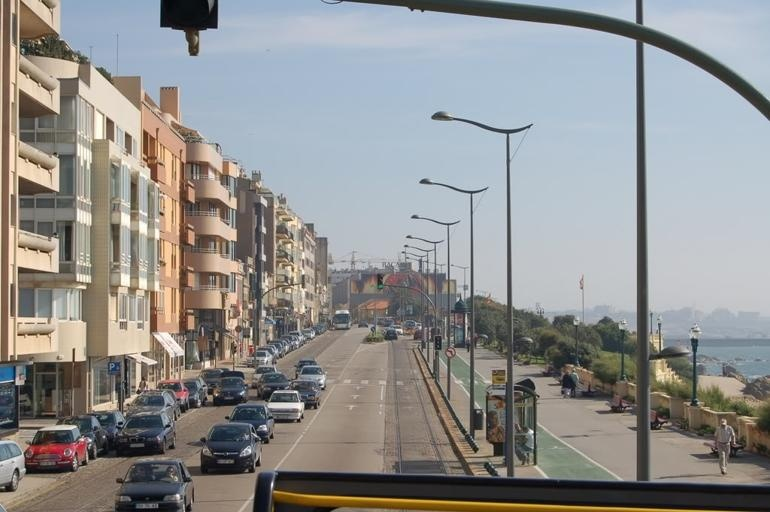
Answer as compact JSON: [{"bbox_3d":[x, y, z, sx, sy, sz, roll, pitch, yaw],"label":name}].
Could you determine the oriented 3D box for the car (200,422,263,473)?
[{"bbox_3d":[-6.969,8.693,48.126,2.362,2.150,4.793,0,-6,-1],"label":"car"}]

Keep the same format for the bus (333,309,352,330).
[{"bbox_3d":[-6.988,10.448,174.824,2.113,3.467,3.107,0,-10,-16],"label":"bus"}]

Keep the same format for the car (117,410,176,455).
[{"bbox_3d":[-11.768,8.689,52.450,2.211,1.913,5.437,-2,-3,-4],"label":"car"}]

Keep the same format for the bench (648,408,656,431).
[{"bbox_3d":[15.025,9.148,58.962,0.297,1.008,0.551,-4,-9,12],"label":"bench"}]

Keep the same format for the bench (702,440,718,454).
[{"bbox_3d":[16.081,9.396,52.047,0.592,0.214,0.827,-2,1,-2],"label":"bench"}]

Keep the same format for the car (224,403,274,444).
[{"bbox_3d":[-6.920,8.729,54.869,2.318,2.145,4.573,-1,-6,-3],"label":"car"}]

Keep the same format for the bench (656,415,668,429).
[{"bbox_3d":[15.897,9.513,60.698,0.548,1.095,1.784,-3,-7,8],"label":"bench"}]

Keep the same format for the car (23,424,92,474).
[{"bbox_3d":[-15.096,8.842,48.229,2.271,2.126,4.607,2,0,-10],"label":"car"}]
